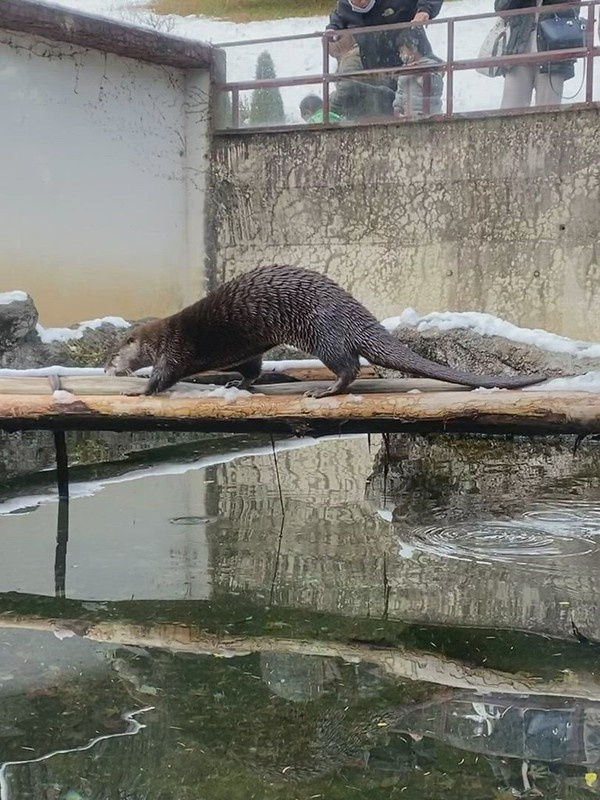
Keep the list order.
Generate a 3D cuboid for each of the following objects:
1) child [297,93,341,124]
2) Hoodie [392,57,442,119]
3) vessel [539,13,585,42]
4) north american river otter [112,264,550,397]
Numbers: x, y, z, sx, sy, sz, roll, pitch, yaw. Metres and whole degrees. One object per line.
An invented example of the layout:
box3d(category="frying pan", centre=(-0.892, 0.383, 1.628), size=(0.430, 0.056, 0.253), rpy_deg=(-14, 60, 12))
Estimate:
box3d(category="child", centre=(0.174, -2.876, 9.300), size=(0.247, 0.356, 0.204), rpy_deg=(-25, 41, -8))
box3d(category="Hoodie", centre=(1.100, -2.946, 8.841), size=(0.652, 0.534, 0.375), rpy_deg=(17, 38, 33))
box3d(category="vessel", centre=(2.219, -3.124, 7.932), size=(0.402, 0.293, 0.201), rpy_deg=(3, 12, 21))
box3d(category="north american river otter", centre=(0.135, -0.363, 5.305), size=(2.613, 0.632, 0.472), rpy_deg=(0, 17, -2))
